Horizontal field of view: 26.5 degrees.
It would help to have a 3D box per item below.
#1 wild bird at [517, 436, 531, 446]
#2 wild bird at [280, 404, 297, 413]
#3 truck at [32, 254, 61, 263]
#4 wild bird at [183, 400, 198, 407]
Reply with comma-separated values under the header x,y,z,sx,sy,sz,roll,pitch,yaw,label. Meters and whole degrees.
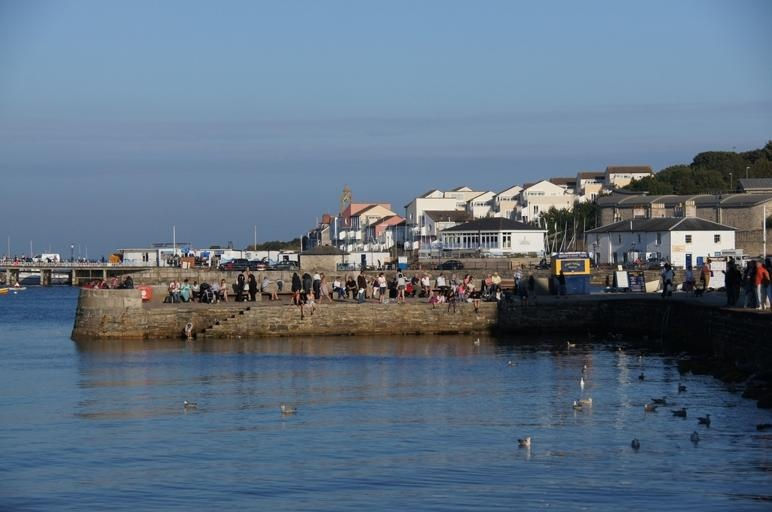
x,y,z,sx,sy,sz,roll,pitch,yaw,label
5.651,7.609,67.307,0.610,0.414,0.942,-2,-6,3,wild bird
-4.359,6.565,70.982,0.311,0.447,0.712,0,1,-31,wild bird
-39.366,0.264,187.456,2.366,0.968,1.324,3,1,3,truck
-8.743,6.464,72.112,0.631,0.283,0.938,-1,-6,-7,wild bird
